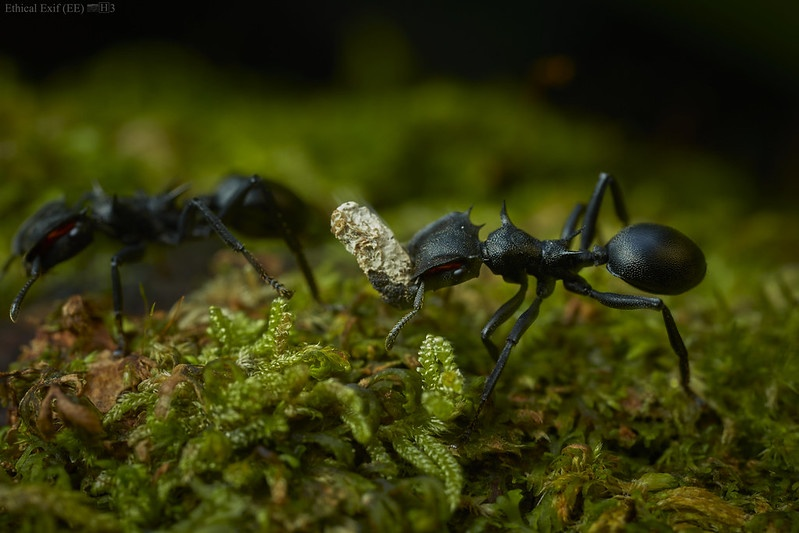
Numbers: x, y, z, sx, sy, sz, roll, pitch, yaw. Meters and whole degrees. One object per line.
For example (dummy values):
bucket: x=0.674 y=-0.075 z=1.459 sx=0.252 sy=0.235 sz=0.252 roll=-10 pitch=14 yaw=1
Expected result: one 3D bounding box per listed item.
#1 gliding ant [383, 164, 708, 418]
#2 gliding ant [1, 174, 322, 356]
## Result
gliding ant: x=0.844 y=0.125 z=4.851 sx=1.915 sy=0.942 sz=1.100 roll=1 pitch=34 yaw=-15
gliding ant: x=-1.532 y=-0.188 z=5.129 sx=1.944 sy=0.810 sz=0.893 roll=-1 pitch=35 yaw=-18
